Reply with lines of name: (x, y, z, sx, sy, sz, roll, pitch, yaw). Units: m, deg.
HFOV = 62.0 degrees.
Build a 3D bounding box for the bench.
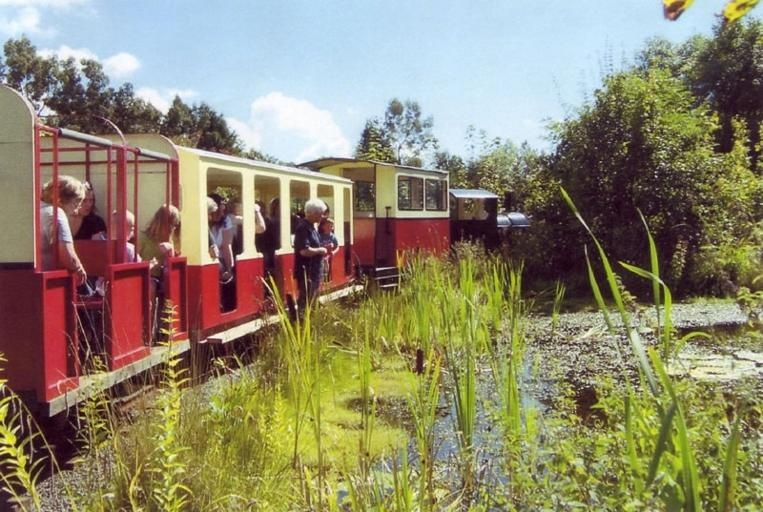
bench: (-3.410, 0.391, 7.552, 0.508, 1.361, 0.910, 0, -2, -1)
